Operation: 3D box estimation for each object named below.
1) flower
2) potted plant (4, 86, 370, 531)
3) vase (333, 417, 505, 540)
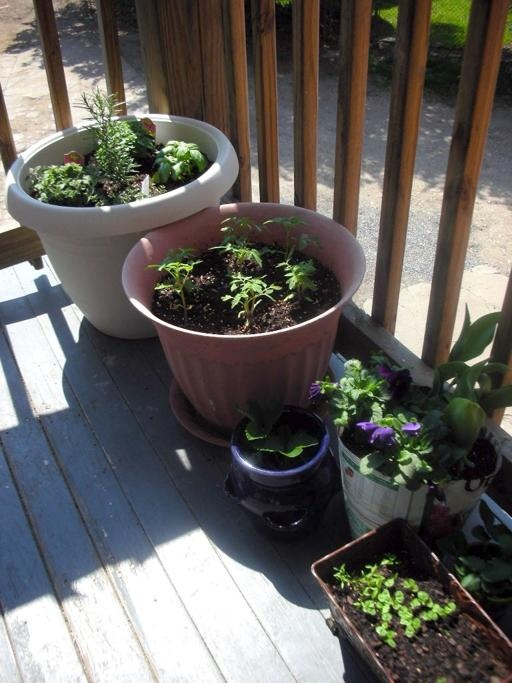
[{"bbox_3d":[0.302,0.167,1.020,0.332,0.142,0.333,34,60,28],"label":"flower"},{"bbox_3d":[-0.209,-0.219,1.399,1.167,0.731,0.763,22,41,29],"label":"potted plant"},{"bbox_3d":[0.279,0.320,1.043,0.238,0.197,0.261,7,9,-3],"label":"vase"}]
